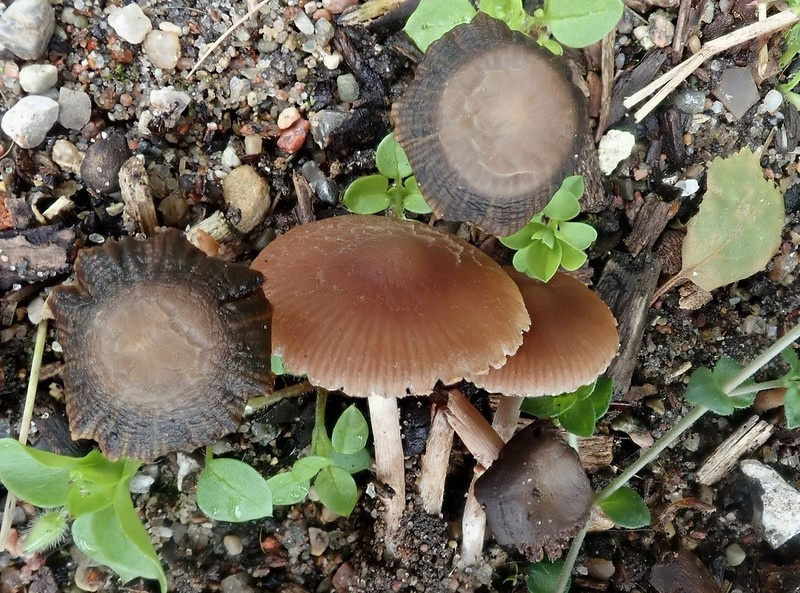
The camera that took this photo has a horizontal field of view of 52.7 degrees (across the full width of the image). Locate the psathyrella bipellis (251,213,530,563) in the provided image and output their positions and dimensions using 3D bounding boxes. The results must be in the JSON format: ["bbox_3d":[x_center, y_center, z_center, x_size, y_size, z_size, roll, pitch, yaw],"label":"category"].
[{"bbox_3d":[-0.033,0.424,3.082,0.957,1.306,1.176,0,24,-2],"label":"psathyrella bipellis"}]

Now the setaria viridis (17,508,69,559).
[{"bbox_3d":[-1.284,0.847,2.936,0.059,0.166,0.230,-15,2,26],"label":"setaria viridis"}]

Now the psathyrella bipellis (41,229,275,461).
[{"bbox_3d":[-0.743,0.091,2.592,0.626,0.720,0.538,-3,12,-9],"label":"psathyrella bipellis"}]

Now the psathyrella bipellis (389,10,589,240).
[{"bbox_3d":[0.290,-0.563,2.663,0.541,0.646,0.261,-20,-9,-2],"label":"psathyrella bipellis"}]
